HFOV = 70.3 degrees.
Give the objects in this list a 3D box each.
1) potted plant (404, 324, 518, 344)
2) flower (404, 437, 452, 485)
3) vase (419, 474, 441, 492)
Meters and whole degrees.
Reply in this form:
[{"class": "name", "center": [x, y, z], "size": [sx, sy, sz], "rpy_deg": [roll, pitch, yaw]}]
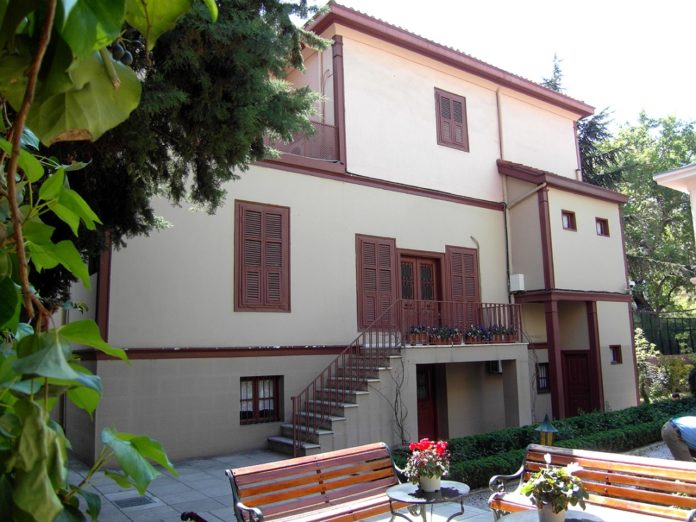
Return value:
[{"class": "potted plant", "center": [2.565, 1.618, 10.863], "size": [3.017, 0.447, 0.287], "rpy_deg": [6, -13, -30]}, {"class": "flower", "center": [0.774, 1.992, 4.890], "size": [0.445, 0.434, 0.319], "rpy_deg": [-3, -12, 6]}, {"class": "vase", "center": [0.802, 2.164, 4.787], "size": [0.161, 0.136, 0.177], "rpy_deg": [0, -8, 5]}]
